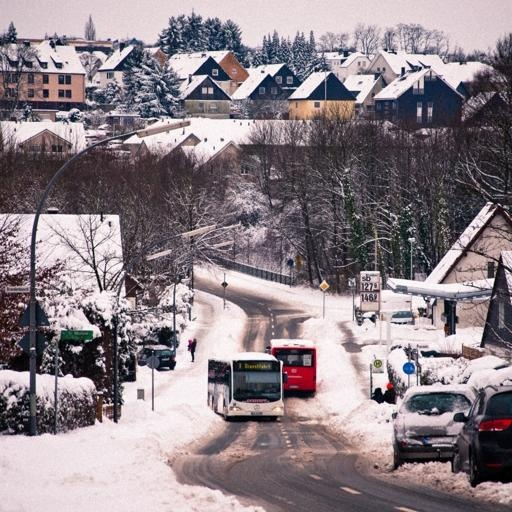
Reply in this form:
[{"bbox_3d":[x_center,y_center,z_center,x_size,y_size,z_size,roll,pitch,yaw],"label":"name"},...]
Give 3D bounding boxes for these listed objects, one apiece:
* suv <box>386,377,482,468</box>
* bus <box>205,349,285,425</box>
[{"bbox_3d":[5.346,5.170,32.483,2.365,3.042,4.924,-4,-10,18],"label":"suv"},{"bbox_3d":[-0.695,5.644,50.378,2.003,3.262,6.597,2,-4,-13],"label":"bus"}]
